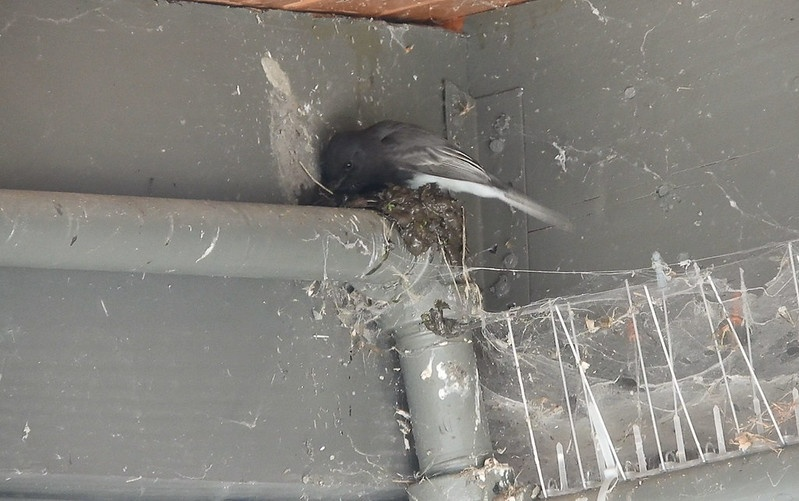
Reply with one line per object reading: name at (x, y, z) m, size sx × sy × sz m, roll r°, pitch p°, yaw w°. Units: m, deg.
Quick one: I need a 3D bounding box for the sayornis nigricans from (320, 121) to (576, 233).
sayornis nigricans at (0.256, -0.355, 5.887) m, size 1.158 × 0.330 × 0.370 m, roll 12°, pitch -75°, yaw 22°
